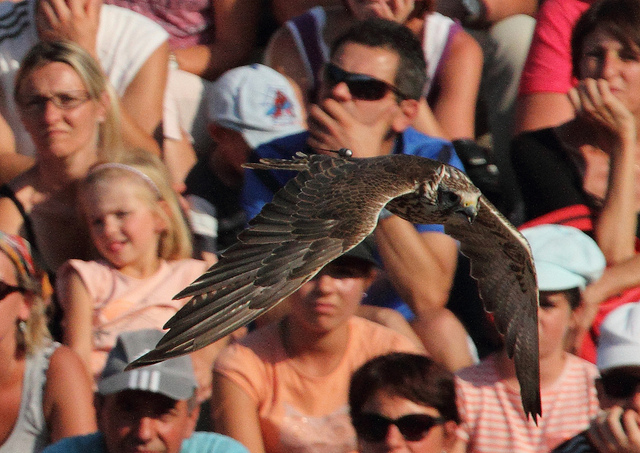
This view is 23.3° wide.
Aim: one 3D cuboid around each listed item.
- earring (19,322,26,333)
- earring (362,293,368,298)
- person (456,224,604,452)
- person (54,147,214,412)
[{"bbox_3d":[-1.915,0.636,9.932,0.040,0.062,0.027,-6,16,-9],"label":"earring"},{"bbox_3d":[0.307,0.452,10.359,0.033,0.015,0.036,2,30,-3],"label":"earring"},{"bbox_3d":[1.437,0.777,10.259,1.041,1.368,0.343,3,-24,-2],"label":"person"},{"bbox_3d":[-1.276,0.385,10.501,1.078,1.637,0.600,-1,-31,-1],"label":"person"}]
